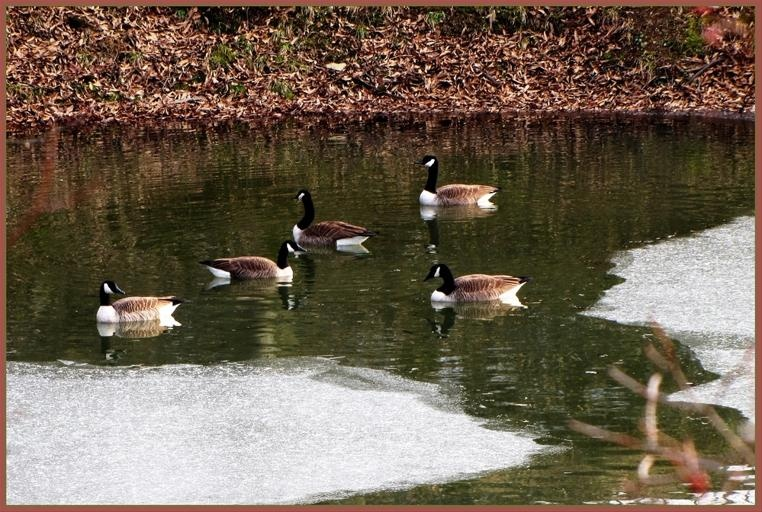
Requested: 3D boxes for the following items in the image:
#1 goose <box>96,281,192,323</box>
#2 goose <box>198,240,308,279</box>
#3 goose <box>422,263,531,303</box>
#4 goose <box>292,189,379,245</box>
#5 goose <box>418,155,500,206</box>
[{"bbox_3d":[-4.821,0.952,19.164,1.646,0.907,1.847,-3,24,-9],"label":"goose"},{"bbox_3d":[-2.896,0.177,21.059,1.835,0.784,0.471,-5,12,-3],"label":"goose"},{"bbox_3d":[1.810,0.578,19.509,2.444,0.663,0.868,-1,15,-25],"label":"goose"},{"bbox_3d":[-1.413,-0.834,23.323,1.374,1.302,2.703,-12,10,-23],"label":"goose"},{"bbox_3d":[2.066,-2.108,27.145,2.173,1.437,2.522,-5,9,2],"label":"goose"}]
